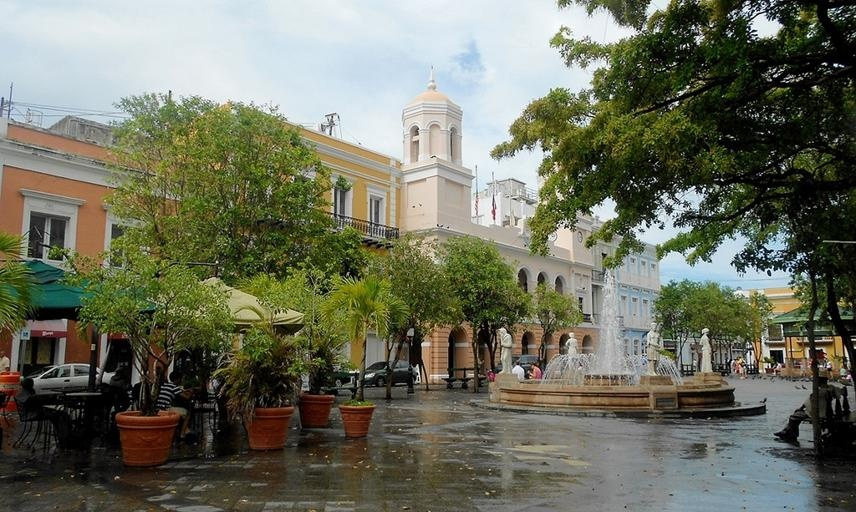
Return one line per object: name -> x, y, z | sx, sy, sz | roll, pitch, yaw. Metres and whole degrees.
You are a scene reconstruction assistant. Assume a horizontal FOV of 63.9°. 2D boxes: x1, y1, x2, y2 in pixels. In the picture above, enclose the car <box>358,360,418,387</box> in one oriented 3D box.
car -> -1.940, 6.042, 36.390 | 3.015, 1.242, 1.730 | 14, -21, -41
